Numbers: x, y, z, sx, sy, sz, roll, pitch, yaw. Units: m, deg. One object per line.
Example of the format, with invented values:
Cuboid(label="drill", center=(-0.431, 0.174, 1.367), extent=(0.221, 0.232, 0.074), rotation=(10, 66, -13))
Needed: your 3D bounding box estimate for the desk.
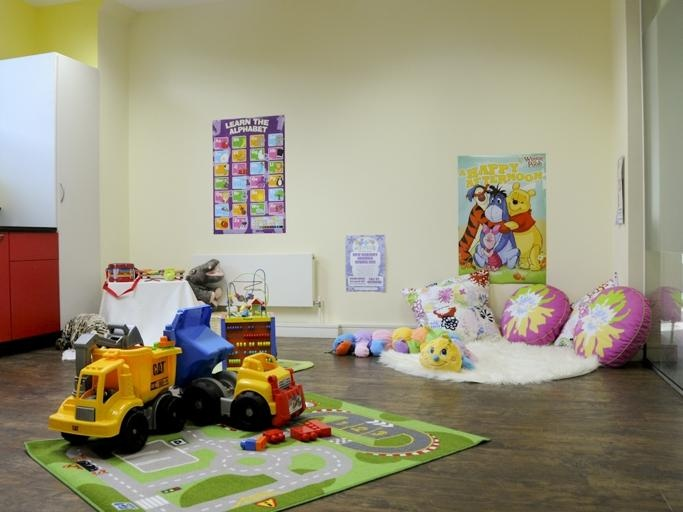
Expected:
Cuboid(label="desk", center=(-1.709, 0.411, 4.181), extent=(0.543, 0.273, 0.539), rotation=(0, -3, -2))

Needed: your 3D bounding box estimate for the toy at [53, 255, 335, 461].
Cuboid(label="toy", center=(-0.658, 0.528, 2.543), extent=(0.615, 0.723, 1.238), rotation=(0, 4, 31))
